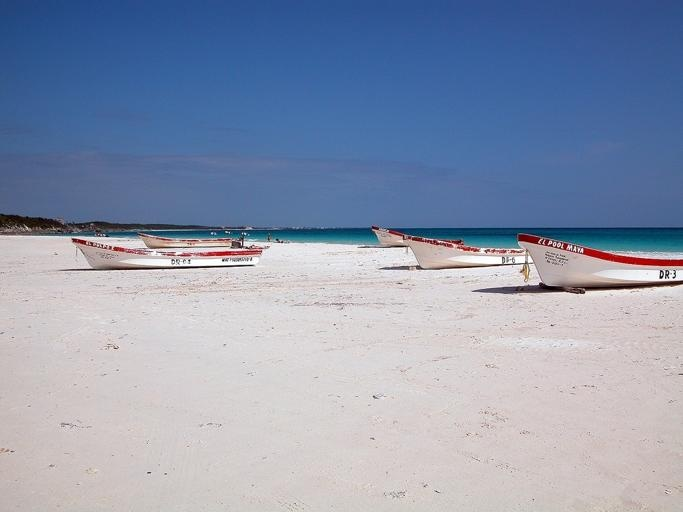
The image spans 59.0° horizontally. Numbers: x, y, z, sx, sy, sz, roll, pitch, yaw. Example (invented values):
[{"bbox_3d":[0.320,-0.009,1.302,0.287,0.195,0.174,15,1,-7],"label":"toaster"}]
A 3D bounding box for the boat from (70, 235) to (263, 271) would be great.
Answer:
[{"bbox_3d":[-7.233,-0.115,25.064,6.863,1.486,0.796,-3,13,-24],"label":"boat"}]
